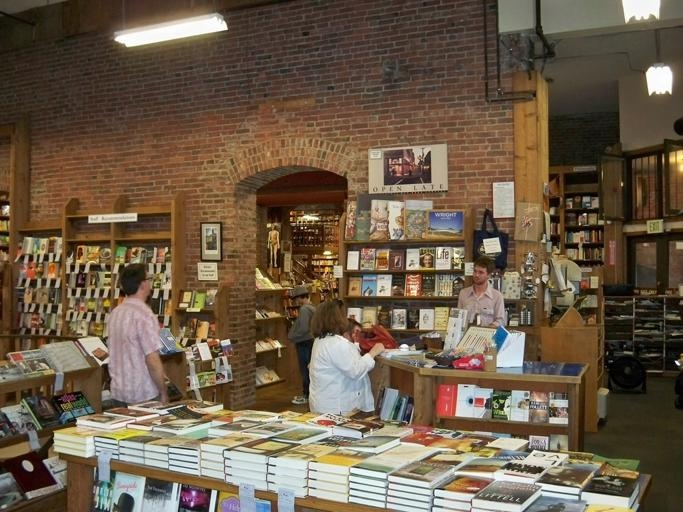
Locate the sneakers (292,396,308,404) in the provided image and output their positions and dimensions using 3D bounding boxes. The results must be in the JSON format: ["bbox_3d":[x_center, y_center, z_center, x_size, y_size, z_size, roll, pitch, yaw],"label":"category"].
[{"bbox_3d":[-0.631,2.231,9.080,0.112,0.063,0.183,2,2,11],"label":"sneakers"}]

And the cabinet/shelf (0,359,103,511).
[{"bbox_3d":[-2.179,1.350,4.350,0.359,0.955,1.019,-2,-1,11],"label":"cabinet/shelf"}]
